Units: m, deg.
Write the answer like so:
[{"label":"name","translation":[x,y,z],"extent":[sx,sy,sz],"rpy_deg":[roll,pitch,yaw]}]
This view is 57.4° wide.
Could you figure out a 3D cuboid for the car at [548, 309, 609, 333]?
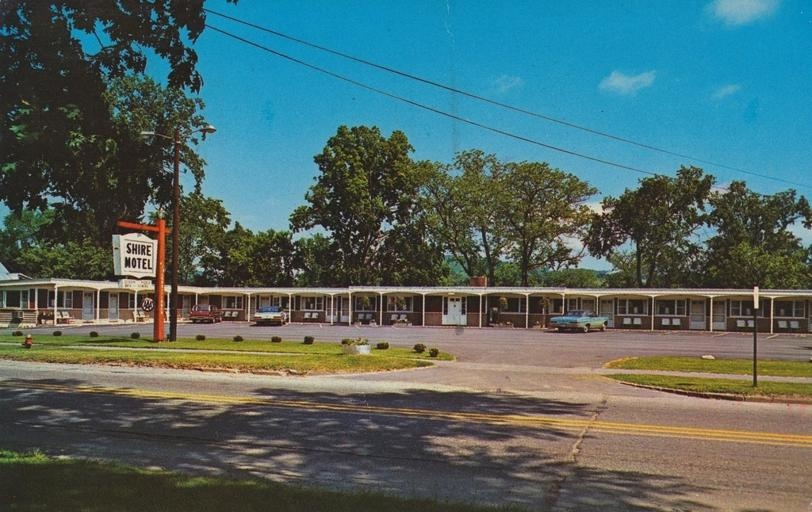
[{"label":"car","translation":[13.209,4.963,57.075],"extent":[4.912,1.728,2.026],"rpy_deg":[8,-9,-43]}]

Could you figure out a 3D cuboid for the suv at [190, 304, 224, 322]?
[{"label":"suv","translation":[-17.466,5.067,64.940],"extent":[1.458,0.943,2.771],"rpy_deg":[-1,-7,2]}]
